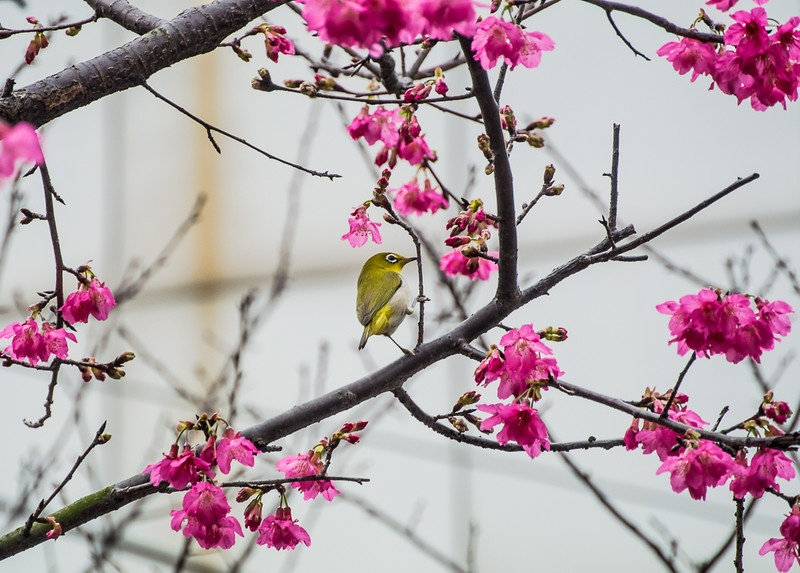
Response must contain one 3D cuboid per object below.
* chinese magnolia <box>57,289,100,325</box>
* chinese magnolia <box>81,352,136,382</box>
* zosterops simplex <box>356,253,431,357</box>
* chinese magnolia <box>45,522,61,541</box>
[{"bbox_3d":[-1.366,0.091,4.635,0.131,0.124,0.137,-4,0,3],"label":"chinese magnolia"},{"bbox_3d":[-1.258,0.322,4.692,0.223,0.097,0.155,-7,-30,-7],"label":"chinese magnolia"},{"bbox_3d":[-0.064,0.090,5.956,0.393,0.590,0.295,-1,-27,-16],"label":"zosterops simplex"},{"bbox_3d":[-1.430,1.014,4.521,0.029,0.068,0.066,18,-38,-15],"label":"chinese magnolia"}]
